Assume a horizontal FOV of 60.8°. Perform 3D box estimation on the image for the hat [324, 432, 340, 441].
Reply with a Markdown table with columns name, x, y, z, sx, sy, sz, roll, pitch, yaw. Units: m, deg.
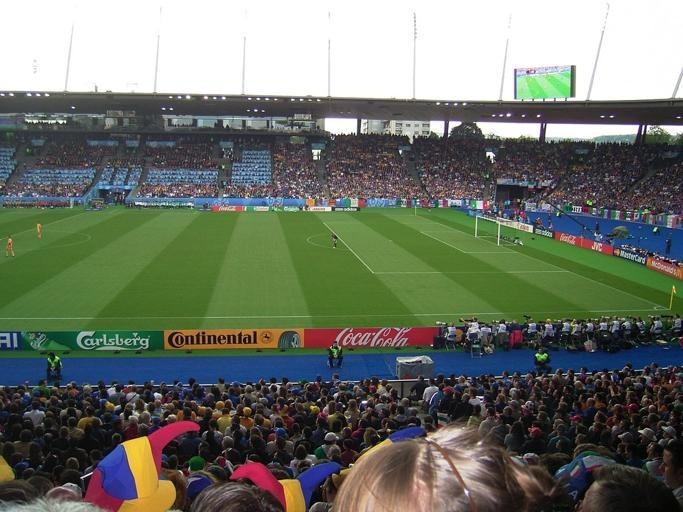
| name | x | y | z | sx | sy | sz | roll | pitch | yaw |
| --- | --- | --- | --- | --- | --- | --- | --- | --- | --- |
| hat | -0.210 | 3.847 | 12.411 | 0.298 | 0.179 | 0.389 | 1 | 12 | -1 |

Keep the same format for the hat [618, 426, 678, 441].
| name | x | y | z | sx | sy | sz | roll | pitch | yaw |
| --- | --- | --- | --- | --- | --- | --- | --- | --- | --- |
| hat | 6.199 | 3.589 | 11.688 | 0.761 | 0.203 | 0.512 | 0 | -4 | 1 |
